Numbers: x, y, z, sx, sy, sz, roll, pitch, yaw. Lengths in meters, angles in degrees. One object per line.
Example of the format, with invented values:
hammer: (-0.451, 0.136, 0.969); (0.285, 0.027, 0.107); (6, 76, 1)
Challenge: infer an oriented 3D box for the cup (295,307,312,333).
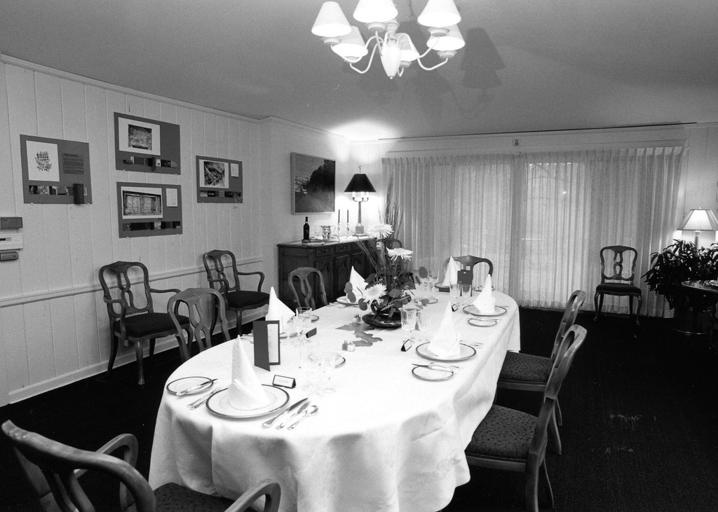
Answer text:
cup: (-0.377, 0.434, 3.192); (0.124, 0.203, 0.117); (0, -5, 0)

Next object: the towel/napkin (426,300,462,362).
towel/napkin: (0.581, 0.531, 3.319); (0.308, 0.467, 0.238); (4, 2, 39)

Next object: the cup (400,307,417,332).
cup: (0.355, 0.459, 3.558); (0.140, 0.198, 0.179); (1, 3, 16)

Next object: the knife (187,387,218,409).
knife: (-0.873, 0.798, 2.667); (0.043, 0.031, 0.269); (8, 21, 14)

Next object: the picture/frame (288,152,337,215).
picture/frame: (-0.741, -1.100, 7.105); (0.097, 0.764, 1.024); (2, 3, 22)

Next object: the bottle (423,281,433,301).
bottle: (0.638, 0.300, 4.276); (0.132, 0.159, 0.150); (2, 16, 19)

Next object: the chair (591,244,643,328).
chair: (3.633, 0.379, 6.671); (0.633, 0.994, 0.913); (8, 16, 29)

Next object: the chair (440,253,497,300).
chair: (1.192, 0.223, 5.190); (0.491, 0.514, 0.310); (0, -7, 31)

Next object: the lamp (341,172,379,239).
lamp: (-0.040, -0.919, 8.034); (0.573, 1.003, 0.783); (6, 15, 19)
